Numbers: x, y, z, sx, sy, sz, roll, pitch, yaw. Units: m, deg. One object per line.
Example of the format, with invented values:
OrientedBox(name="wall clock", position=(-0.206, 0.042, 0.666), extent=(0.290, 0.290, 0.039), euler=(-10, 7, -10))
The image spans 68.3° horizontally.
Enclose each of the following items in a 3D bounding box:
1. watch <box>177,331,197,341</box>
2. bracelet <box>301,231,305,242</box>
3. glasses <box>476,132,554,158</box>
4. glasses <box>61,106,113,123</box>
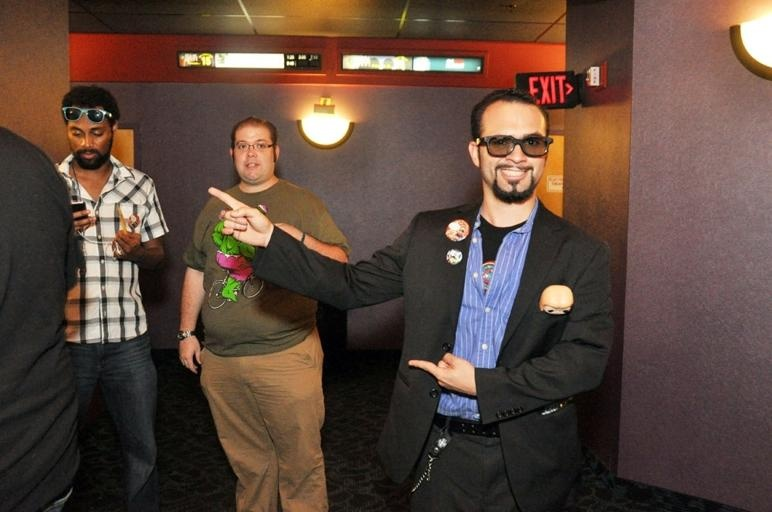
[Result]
OrientedBox(name="watch", position=(-1.294, 0.500, 3.646), extent=(0.081, 0.071, 0.077), euler=(0, 1, -17))
OrientedBox(name="bracelet", position=(-0.456, -0.106, 3.139), extent=(0.012, 0.048, 0.048), euler=(11, 6, -1))
OrientedBox(name="glasses", position=(0.579, -0.496, 2.582), extent=(0.330, 0.096, 0.121), euler=(2, 12, 12))
OrientedBox(name="glasses", position=(-1.776, -0.839, 3.392), extent=(0.273, 0.101, 0.101), euler=(-5, 13, -24))
